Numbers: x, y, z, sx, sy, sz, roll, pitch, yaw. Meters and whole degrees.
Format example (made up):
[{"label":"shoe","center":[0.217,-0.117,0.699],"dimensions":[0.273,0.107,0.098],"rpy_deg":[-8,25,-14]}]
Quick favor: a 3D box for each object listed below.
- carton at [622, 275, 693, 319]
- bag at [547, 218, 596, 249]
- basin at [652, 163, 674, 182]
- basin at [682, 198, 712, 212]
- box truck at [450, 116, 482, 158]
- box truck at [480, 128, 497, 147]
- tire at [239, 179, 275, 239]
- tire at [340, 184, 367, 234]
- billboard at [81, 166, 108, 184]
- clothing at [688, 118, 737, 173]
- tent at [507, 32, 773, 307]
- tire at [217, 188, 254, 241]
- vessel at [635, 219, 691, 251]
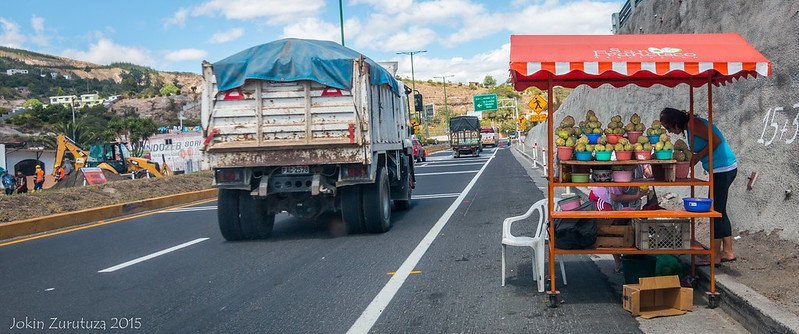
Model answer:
[{"label":"carton","center":[6.889,3.414,14.083],"dimensions":[2.032,0.866,1.191],"rpy_deg":[-1,4,1]},{"label":"bag","center":[4.863,1.806,14.539],"dimensions":[1.341,0.986,1.060],"rpy_deg":[-2,1,21]},{"label":"basin","center":[7.250,0.152,14.131],"dimensions":[0.533,0.404,0.488],"rpy_deg":[1,1,0]},{"label":"basin","center":[8.023,0.999,13.919],"dimensions":[0.537,0.171,0.472],"rpy_deg":[-2,3,3]},{"label":"box truck","center":[6.720,-3.384,54.127],"dimensions":[3.118,2.850,5.361],"rpy_deg":[0,8,9]},{"label":"box truck","center":[12.995,-4.452,76.806],"dimensions":[2.410,1.966,4.241],"rpy_deg":[0,8,12]},{"label":"tire","center":[-4.971,1.383,17.774],"dimensions":[1.062,2.088,2.399],"rpy_deg":[-3,-1,7]},{"label":"tire","center":[-1.580,1.379,17.907],"dimensions":[0.800,1.759,2.023],"rpy_deg":[-3,-1,8]},{"label":"billboard","center":[-18.653,0.525,31.447],"dimensions":[0.436,0.738,1.157],"rpy_deg":[-22,-5,20]},{"label":"clothing","center":[9.019,-0.616,14.842],"dimensions":[1.114,1.569,1.311],"rpy_deg":[-27,7,36]},{"label":"tent","center":[6.471,-0.227,14.480],"dimensions":[6.393,7.118,2.161],"rpy_deg":[-3,8,0]},{"label":"tire","center":[-5.641,1.594,17.850],"dimensions":[0.935,1.845,2.106],"rpy_deg":[-2,0,0]},{"label":"vessel","center":[7.127,1.806,13.887],"dimensions":[1.179,0.557,1.023],"rpy_deg":[1,0,-12]}]
